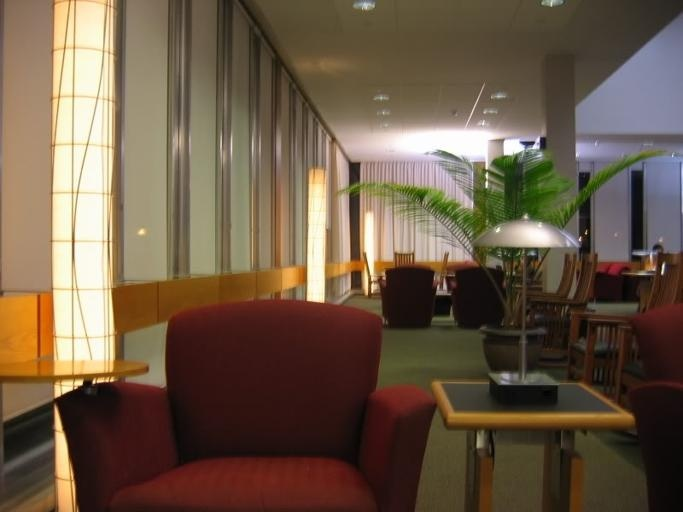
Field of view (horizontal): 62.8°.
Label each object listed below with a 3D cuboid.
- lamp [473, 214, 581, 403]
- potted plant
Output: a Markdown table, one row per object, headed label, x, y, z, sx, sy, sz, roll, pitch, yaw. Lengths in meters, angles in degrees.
| label | x | y | z | sx | sy | sz | roll | pitch | yaw |
| --- | --- | --- | --- | --- | --- | --- | --- | --- | --- |
| lamp | 0.906 | 0.252 | 2.646 | 0.401 | 0.843 | 1.119 | -1 | 1 | 23 |
| potted plant | 1.389 | -0.392 | 5.687 | 2.472 | 1.622 | 2.695 | 0 | -7 | 0 |
